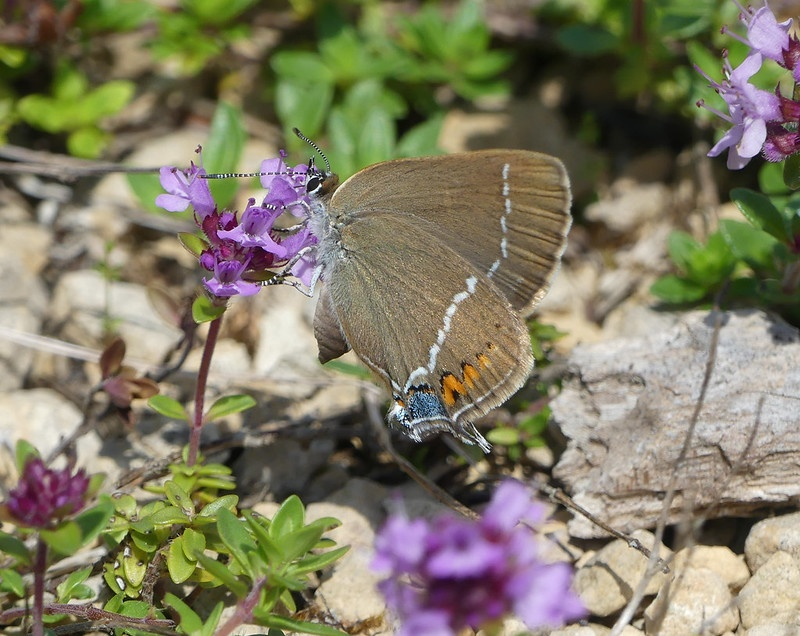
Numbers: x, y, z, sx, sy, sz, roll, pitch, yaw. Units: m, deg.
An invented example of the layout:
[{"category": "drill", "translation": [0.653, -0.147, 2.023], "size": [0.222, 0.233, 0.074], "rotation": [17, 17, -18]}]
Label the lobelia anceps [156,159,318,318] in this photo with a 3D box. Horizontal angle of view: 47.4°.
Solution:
[{"category": "lobelia anceps", "translation": [-0.884, -0.483, 4.651], "size": [0.775, 0.388, 0.780], "rotation": [35, 44, 28]}]
